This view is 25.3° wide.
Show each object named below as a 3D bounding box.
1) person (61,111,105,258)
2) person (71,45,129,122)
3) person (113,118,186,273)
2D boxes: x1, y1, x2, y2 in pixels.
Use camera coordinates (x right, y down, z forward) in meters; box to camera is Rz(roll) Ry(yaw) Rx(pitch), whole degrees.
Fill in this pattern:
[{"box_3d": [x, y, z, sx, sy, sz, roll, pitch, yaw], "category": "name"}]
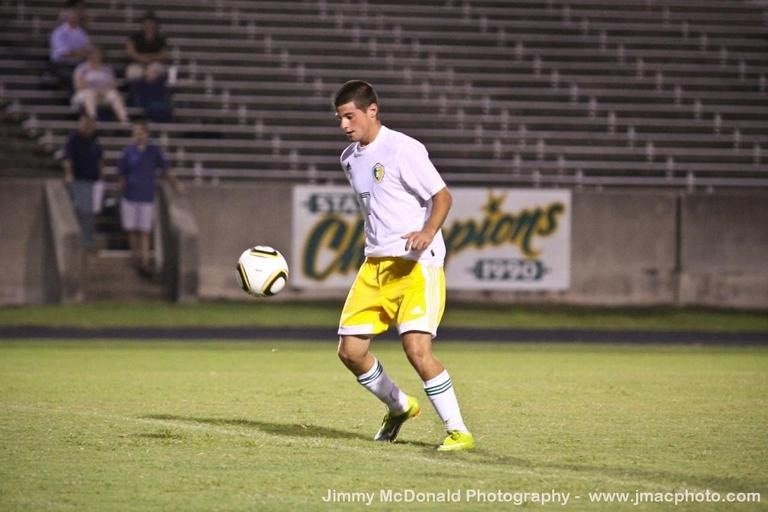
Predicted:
[{"box_3d": [-5.965, -1.480, 34.017, 0.551, 2.628, 0.558, 6, 14, 24], "category": "person"}, {"box_3d": [-5.880, -3.511, 35.225, 1.134, 1.577, 0.859, -2, 13, -10], "category": "person"}, {"box_3d": [-4.699, -1.243, 34.071, 1.251, 3.145, 1.058, 0, 2, -10], "category": "person"}]
